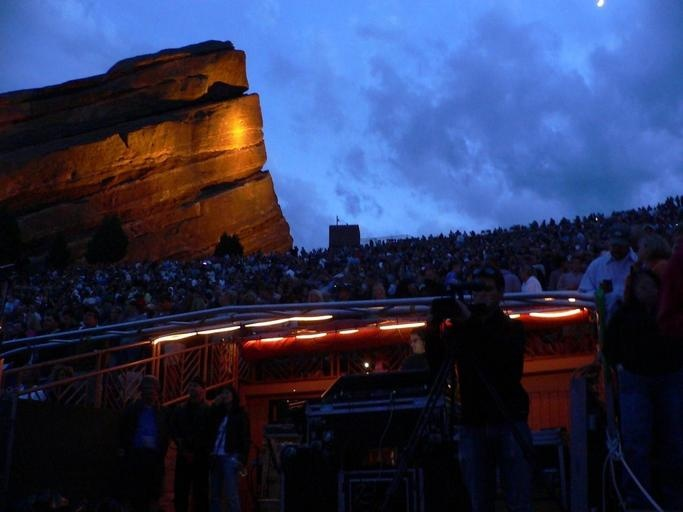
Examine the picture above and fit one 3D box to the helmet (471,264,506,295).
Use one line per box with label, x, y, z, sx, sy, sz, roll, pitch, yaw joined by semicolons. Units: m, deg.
helmet;1.467;0.241;7.560;0.222;0.310;0.294;-1;-19;8
